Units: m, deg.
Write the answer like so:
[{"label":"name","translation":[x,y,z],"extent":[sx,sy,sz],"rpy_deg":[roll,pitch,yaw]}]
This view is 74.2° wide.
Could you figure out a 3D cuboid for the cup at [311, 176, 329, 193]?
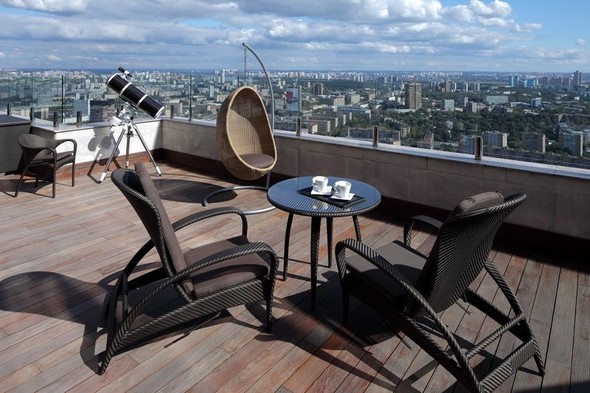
[{"label":"cup","translation":[0.236,-0.112,3.651],"extent":[0.127,0.128,0.158],"rpy_deg":[-1,7,-8]}]

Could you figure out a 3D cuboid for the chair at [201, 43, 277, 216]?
[{"label":"chair","translation":[-0.689,-0.961,5.391],"extent":[1.046,2.126,1.011],"rpy_deg":[10,19,22]}]

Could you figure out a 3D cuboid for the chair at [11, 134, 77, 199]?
[{"label":"chair","translation":[-3.583,-0.437,5.590],"extent":[0.582,0.804,0.761],"rpy_deg":[8,13,8]}]

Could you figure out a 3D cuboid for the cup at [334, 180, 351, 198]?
[{"label":"cup","translation":[0.428,-0.067,3.536],"extent":[0.121,0.104,0.151],"rpy_deg":[-5,12,-22]}]

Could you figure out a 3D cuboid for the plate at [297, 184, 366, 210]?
[{"label":"plate","translation":[0.277,0.016,3.480],"extent":[0.385,0.042,0.243],"rpy_deg":[21,30,41]}]

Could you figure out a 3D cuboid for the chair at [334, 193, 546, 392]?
[{"label":"chair","translation":[1.088,0.404,3.144],"extent":[1.044,1.453,1.632],"rpy_deg":[-15,25,-33]}]

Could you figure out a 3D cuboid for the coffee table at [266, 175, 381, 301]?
[{"label":"coffee table","translation":[0.274,0.466,3.783],"extent":[1.045,0.921,1.071],"rpy_deg":[0,21,0]}]

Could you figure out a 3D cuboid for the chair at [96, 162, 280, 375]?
[{"label":"chair","translation":[-0.843,0.413,3.034],"extent":[1.311,1.139,0.946],"rpy_deg":[0,16,-19]}]
